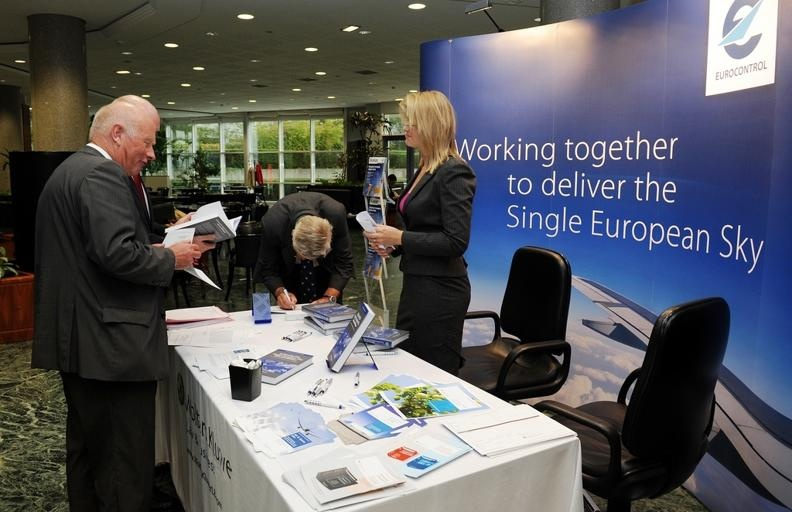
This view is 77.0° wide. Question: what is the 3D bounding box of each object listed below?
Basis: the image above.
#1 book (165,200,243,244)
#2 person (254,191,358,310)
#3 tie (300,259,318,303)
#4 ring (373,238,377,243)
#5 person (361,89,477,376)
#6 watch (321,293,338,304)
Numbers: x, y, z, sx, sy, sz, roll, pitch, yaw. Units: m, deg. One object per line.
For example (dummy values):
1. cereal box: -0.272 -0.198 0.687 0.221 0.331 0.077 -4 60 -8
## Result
1. book: -1.094 -0.161 2.778 0.337 0.132 0.261 -18 5 35
2. person: -0.676 -0.026 3.745 0.706 0.870 0.780 -5 12 -24
3. tie: -0.669 0.168 3.882 0.124 0.490 0.050 0 47 -3
4. ring: -0.135 -0.091 3.072 0.028 0.025 0.022 19 11 27
5. person: 0.158 0.120 3.301 0.725 2.238 0.725 -4 19 -10
6. watch: -0.481 0.310 3.592 0.104 0.061 0.094 8 -12 -35
